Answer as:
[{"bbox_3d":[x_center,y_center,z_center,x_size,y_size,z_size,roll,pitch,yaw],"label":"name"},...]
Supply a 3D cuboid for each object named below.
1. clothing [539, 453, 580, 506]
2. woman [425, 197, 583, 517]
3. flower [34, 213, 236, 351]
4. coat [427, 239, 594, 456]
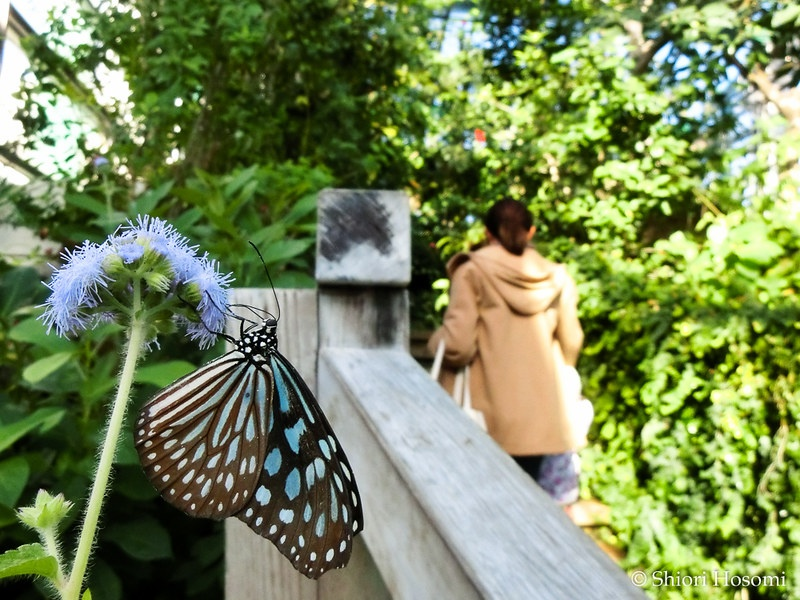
[{"bbox_3d":[0.743,0.787,3.451,0.149,0.099,0.260,-12,-35,2],"label":"clothing"},{"bbox_3d":[0.566,0.332,3.515,0.636,1.562,0.523,-1,10,7],"label":"woman"},{"bbox_3d":[-0.821,-0.056,2.372,0.554,0.403,0.165,-1,1,-5],"label":"flower"},{"bbox_3d":[0.534,0.352,3.446,0.708,1.374,0.586,2,-12,-13],"label":"coat"}]
